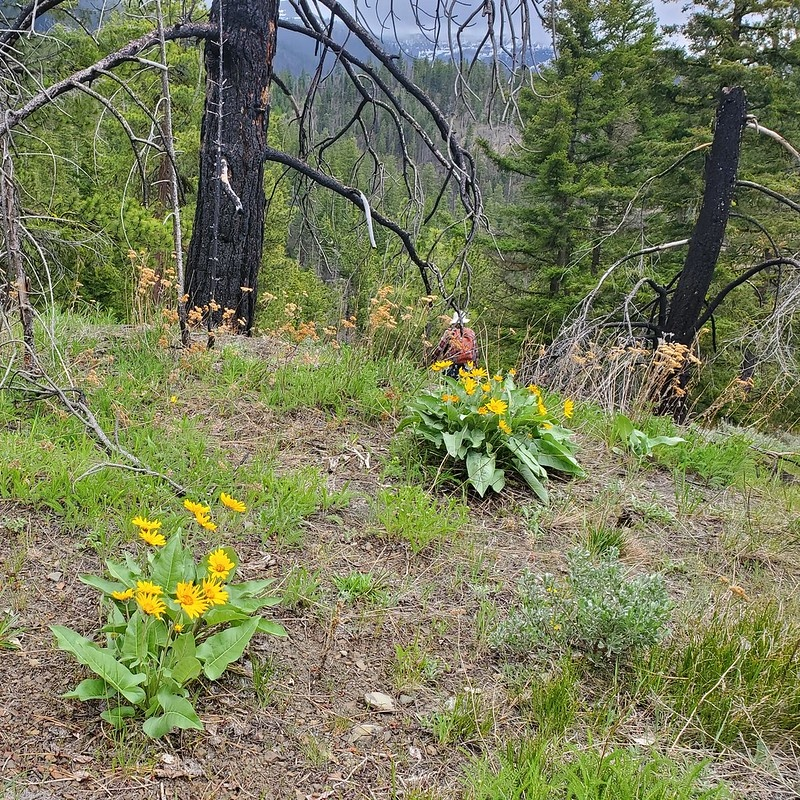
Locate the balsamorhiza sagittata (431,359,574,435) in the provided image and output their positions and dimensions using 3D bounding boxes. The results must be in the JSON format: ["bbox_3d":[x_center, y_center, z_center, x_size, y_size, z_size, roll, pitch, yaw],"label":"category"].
[{"bbox_3d":[0.572,0.058,4.943,0.497,0.254,0.550,-3,21,-30],"label":"balsamorhiza sagittata"}]

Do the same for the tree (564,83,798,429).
[{"bbox_3d":[2.622,-1.186,7.221,1.425,3.030,1.970,15,15,29],"label":"tree"}]

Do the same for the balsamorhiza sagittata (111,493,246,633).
[{"bbox_3d":[-0.874,0.720,3.455,0.458,0.289,0.634,21,41,-25],"label":"balsamorhiza sagittata"}]
